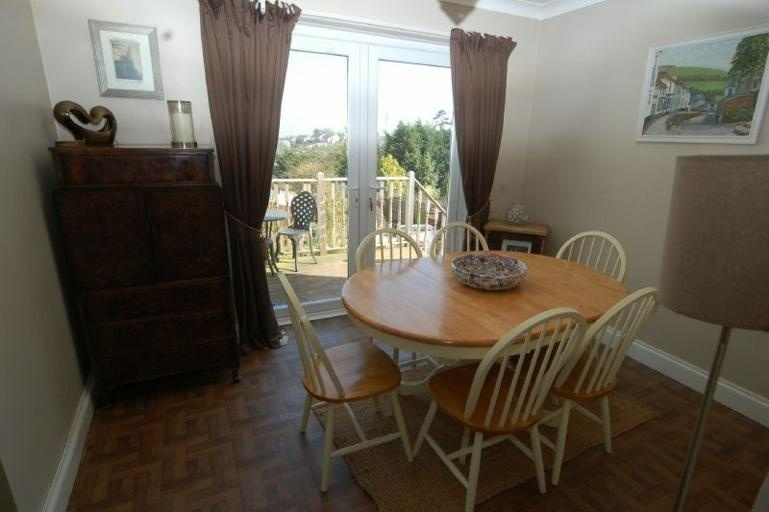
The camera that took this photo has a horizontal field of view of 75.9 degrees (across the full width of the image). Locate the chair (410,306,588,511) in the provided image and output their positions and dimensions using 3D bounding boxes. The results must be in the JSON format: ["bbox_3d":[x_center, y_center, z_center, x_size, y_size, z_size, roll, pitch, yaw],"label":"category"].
[{"bbox_3d":[0.706,0.935,2.983,0.787,1.450,0.893,-8,22,-20],"label":"chair"}]

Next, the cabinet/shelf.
[{"bbox_3d":[-1.731,0.069,3.781,1.022,1.842,0.677,-8,17,-23],"label":"cabinet/shelf"}]

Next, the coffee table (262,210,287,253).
[{"bbox_3d":[-0.966,-0.236,4.439,0.290,0.334,0.303,-2,20,-15],"label":"coffee table"}]

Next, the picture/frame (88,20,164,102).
[{"bbox_3d":[-1.923,-1.456,3.636,0.603,0.687,0.054,-3,15,-18],"label":"picture/frame"}]

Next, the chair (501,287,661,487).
[{"bbox_3d":[1.203,0.850,3.103,0.769,1.430,0.633,-13,30,-17],"label":"chair"}]

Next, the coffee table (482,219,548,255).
[{"bbox_3d":[1.251,-0.296,4.664,0.500,0.485,0.339,3,10,20],"label":"coffee table"}]

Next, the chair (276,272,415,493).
[{"bbox_3d":[-0.239,0.721,3.150,0.771,1.317,0.564,-5,17,-13],"label":"chair"}]
